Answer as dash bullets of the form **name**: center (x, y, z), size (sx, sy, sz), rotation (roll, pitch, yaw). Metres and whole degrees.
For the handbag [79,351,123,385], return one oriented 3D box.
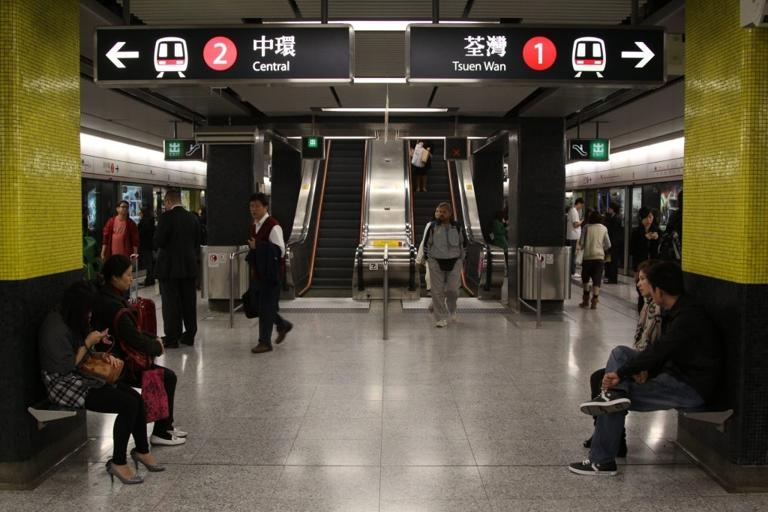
- **handbag**: center (-2.254, 0.889, 4.527), size (0.274, 0.242, 0.267), rotation (22, -3, -13)

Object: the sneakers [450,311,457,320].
- **sneakers**: center (1.228, 1.059, 9.810), size (0.136, 0.148, 0.367), rotation (-1, -5, 4)

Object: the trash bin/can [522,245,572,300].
- **trash bin/can**: center (3.048, 0.321, 10.350), size (1.065, 1.370, 0.727), rotation (0, 0, 1)

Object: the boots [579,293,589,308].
- **boots**: center (4.071, 0.892, 11.242), size (0.160, 0.296, 0.316), rotation (0, 6, -2)

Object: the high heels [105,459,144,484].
- **high heels**: center (-2.066, 1.713, 4.422), size (0.307, 0.161, 0.157), rotation (-1, 7, -5)

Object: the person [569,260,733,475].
- **person**: center (2.164, 0.908, 4.508), size (1.162, 1.705, 0.381), rotation (-1, 7, -6)

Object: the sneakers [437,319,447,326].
- **sneakers**: center (0.981, 1.143, 9.374), size (0.076, 0.084, 0.210), rotation (-4, -10, 20)

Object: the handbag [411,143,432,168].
- **handbag**: center (1.105, -3.052, 16.752), size (0.528, 0.728, 0.625), rotation (0, 7, 2)

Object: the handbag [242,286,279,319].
- **handbag**: center (-1.767, 0.651, 7.975), size (0.431, 0.759, 0.571), rotation (1, -2, -21)

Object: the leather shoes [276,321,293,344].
- **leather shoes**: center (-1.465, 1.131, 8.166), size (0.181, 0.374, 0.127), rotation (46, 27, 14)

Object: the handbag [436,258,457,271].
- **handbag**: center (1.058, 0.143, 9.367), size (0.350, 0.318, 0.198), rotation (1, -11, -1)

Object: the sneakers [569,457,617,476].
- **sneakers**: center (1.706, 1.722, 4.565), size (0.399, 0.150, 0.143), rotation (2, -5, 7)

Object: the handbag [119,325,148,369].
- **handbag**: center (-2.077, 0.829, 4.721), size (0.265, 0.246, 0.177), rotation (-5, 7, -15)

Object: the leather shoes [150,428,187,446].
- **leather shoes**: center (-1.941, 1.630, 5.010), size (0.257, 0.095, 0.135), rotation (0, 0, -5)

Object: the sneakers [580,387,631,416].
- **sneakers**: center (1.744, 1.160, 4.418), size (0.453, 0.175, 0.270), rotation (-7, 34, 13)

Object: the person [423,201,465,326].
- **person**: center (1.067, 0.151, 9.524), size (0.682, 2.090, 0.534), rotation (-6, 9, -39)

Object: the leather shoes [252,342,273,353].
- **leather shoes**: center (-1.688, 1.290, 7.784), size (0.275, 0.118, 0.110), rotation (1, -1, -25)
